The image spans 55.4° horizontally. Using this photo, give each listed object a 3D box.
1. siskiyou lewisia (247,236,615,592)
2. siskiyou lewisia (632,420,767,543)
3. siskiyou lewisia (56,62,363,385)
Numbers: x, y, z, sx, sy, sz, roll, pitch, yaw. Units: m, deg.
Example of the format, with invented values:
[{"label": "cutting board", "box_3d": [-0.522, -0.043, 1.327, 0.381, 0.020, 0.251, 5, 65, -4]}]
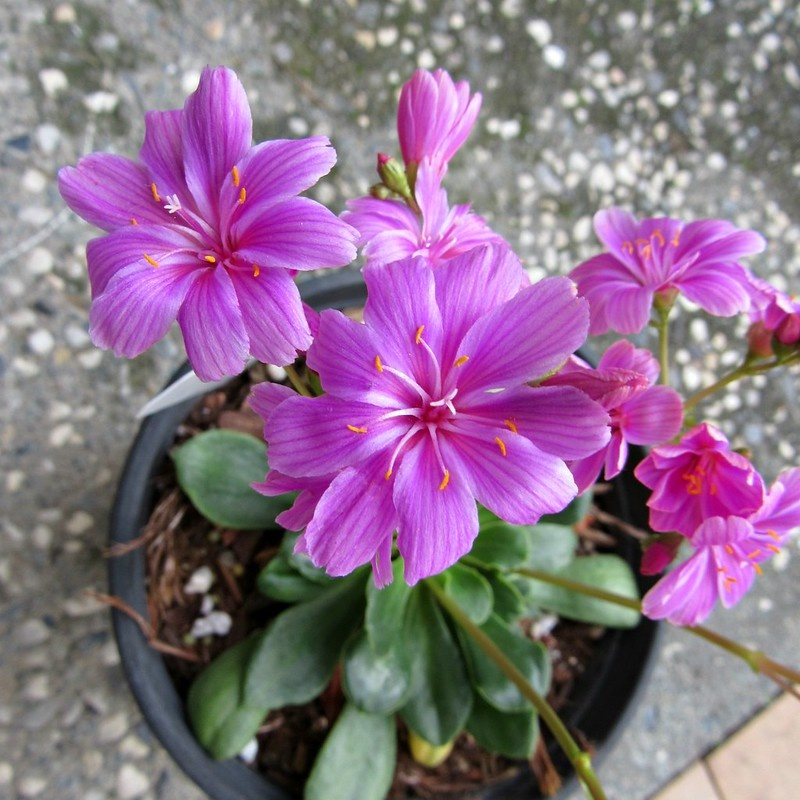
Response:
[{"label": "siskiyou lewisia", "box_3d": [0.041, 0.016, 0.803, 0.326, 0.358, 0.100, -24, -30, 6]}, {"label": "siskiyou lewisia", "box_3d": [0.348, 0.086, 0.914, 0.135, 0.127, 0.085, -37, 3, 28]}, {"label": "siskiyou lewisia", "box_3d": [-0.192, -0.158, 0.862, 0.327, 0.366, 0.126, -16, -10, 15]}]
